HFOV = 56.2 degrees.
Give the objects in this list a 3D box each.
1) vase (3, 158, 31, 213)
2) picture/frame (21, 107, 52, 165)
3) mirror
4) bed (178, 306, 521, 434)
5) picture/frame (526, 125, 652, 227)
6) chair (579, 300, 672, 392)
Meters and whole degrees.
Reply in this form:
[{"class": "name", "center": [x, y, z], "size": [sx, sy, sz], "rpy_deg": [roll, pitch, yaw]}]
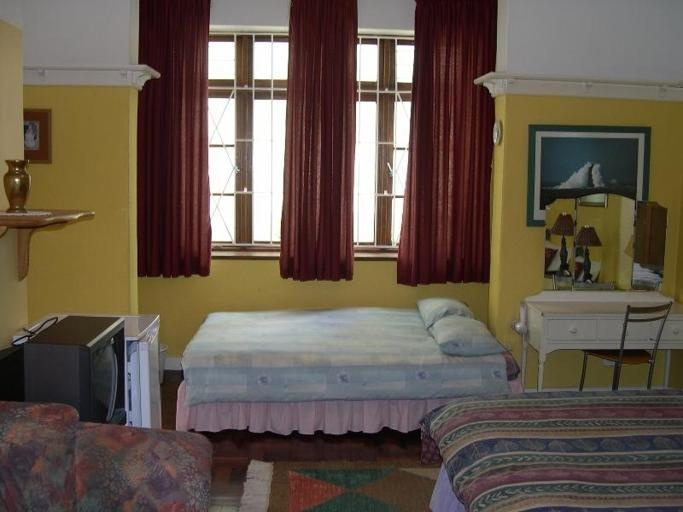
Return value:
[{"class": "vase", "center": [-1.740, -0.377, 3.424], "size": [0.125, 0.275, 0.250], "rpy_deg": [-5, 9, -28]}, {"class": "picture/frame", "center": [-2.418, -0.950, 5.072], "size": [0.245, 0.434, 0.050], "rpy_deg": [0, 8, 5]}, {"class": "mirror", "center": [2.200, -0.149, 5.364], "size": [0.687, 0.615, 0.026], "rpy_deg": [1, 0, -7]}, {"class": "bed", "center": [-0.042, 0.829, 4.815], "size": [1.832, 0.564, 1.210], "rpy_deg": [-2, 15, -6]}, {"class": "picture/frame", "center": [2.023, -0.696, 5.291], "size": [0.726, 0.702, 0.033], "rpy_deg": [0, 1, -7]}, {"class": "chair", "center": [2.227, 0.728, 4.991], "size": [0.444, 0.884, 0.513], "rpy_deg": [-1, 8, -23]}]
